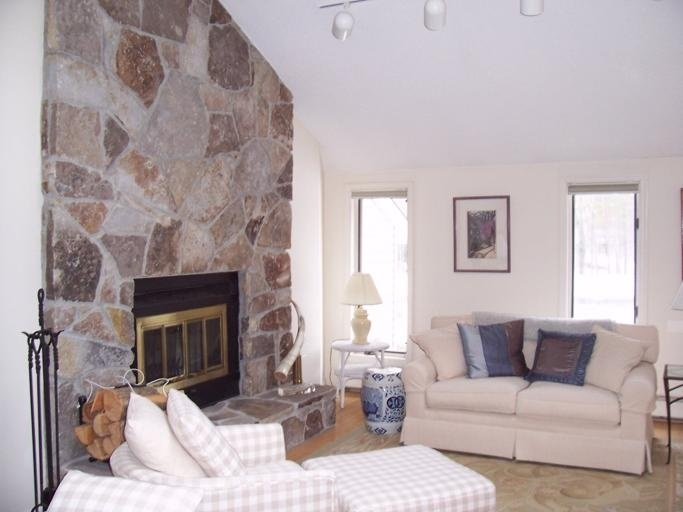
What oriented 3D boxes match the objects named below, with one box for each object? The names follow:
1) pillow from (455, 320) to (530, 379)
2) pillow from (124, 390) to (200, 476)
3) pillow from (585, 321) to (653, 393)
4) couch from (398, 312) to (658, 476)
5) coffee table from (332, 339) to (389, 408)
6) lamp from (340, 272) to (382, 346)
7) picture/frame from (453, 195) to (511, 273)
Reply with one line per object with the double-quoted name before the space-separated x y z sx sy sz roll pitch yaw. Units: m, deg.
"pillow" 1.253 0.797 4.574 0.372 0.316 0.183 -8 -42 -5
"pillow" -0.858 0.860 2.565 0.470 0.358 0.288 0 2 39
"pillow" 2.091 0.794 4.215 0.126 0.425 0.415 30 -8 -35
"couch" 1.560 1.097 4.606 1.877 1.121 1.052 -2 -8 29
"coffee table" 0.180 1.134 5.584 0.606 0.569 0.637 0 -2 -24
"lamp" 0.195 0.511 5.572 0.379 0.683 0.596 -1 1 0
"picture/frame" 1.442 -0.234 5.549 0.733 1.057 0.040 1 2 21
